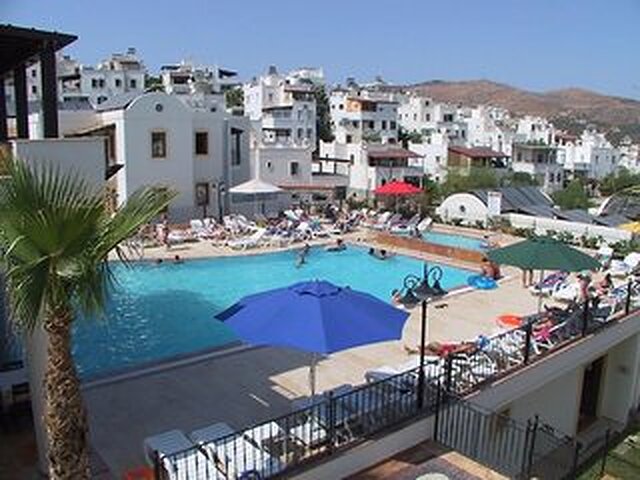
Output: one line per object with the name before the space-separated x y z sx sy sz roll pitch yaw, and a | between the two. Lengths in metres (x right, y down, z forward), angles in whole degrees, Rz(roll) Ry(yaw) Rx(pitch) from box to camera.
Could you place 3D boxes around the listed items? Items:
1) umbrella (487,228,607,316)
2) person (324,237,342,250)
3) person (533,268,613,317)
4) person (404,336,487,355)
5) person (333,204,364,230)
umbrella | 6.255 0.947 16.401 2.349 1.796 2.342 -1 7 -3
person | 0.895 0.200 29.335 0.404 0.509 1.285 5 8 32
person | 8.963 1.630 19.480 3.188 1.022 1.563 -11 11 -32
person | 3.201 2.677 14.430 1.711 0.467 0.680 -12 -4 18
person | 1.727 -1.233 35.037 0.979 1.284 2.752 7 1 23
